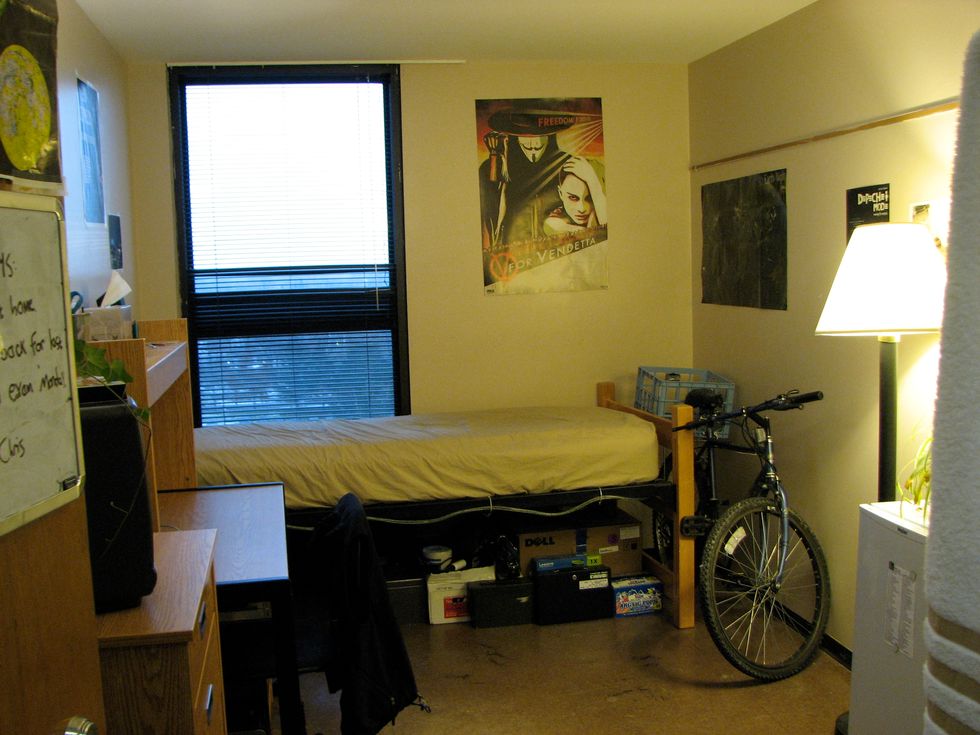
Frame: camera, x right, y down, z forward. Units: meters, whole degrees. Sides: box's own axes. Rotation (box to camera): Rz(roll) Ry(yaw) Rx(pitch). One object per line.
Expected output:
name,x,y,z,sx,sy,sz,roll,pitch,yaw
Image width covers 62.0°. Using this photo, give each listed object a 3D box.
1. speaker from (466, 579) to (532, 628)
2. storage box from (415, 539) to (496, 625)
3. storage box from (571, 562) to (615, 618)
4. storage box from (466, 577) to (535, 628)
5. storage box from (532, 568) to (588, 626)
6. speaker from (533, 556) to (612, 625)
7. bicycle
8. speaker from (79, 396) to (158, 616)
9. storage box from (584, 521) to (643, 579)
speaker,0.034,1.224,4.162,0.361,0.237,0.206,5,-12,-29
storage box,-0.179,1.090,4.034,0.368,0.298,0.140,-2,-3,-3
storage box,0.510,1.133,4.237,0.232,0.243,0.233,-1,-1,-7
storage box,0.055,1.169,4.074,0.326,0.222,0.201,-1,-3,-11
storage box,0.331,1.158,4.144,0.241,0.244,0.128,1,-10,-19
speaker,0.420,1.151,4.207,0.414,0.265,0.238,-5,-1,-20
bicycle,1.229,0.679,3.970,0.763,1.320,1.229,0,9,6
speaker,-0.781,0.277,1.710,0.115,0.460,0.066,-4,9,-19
storage box,0.629,0.941,4.282,0.284,0.279,0.158,-1,1,-20
